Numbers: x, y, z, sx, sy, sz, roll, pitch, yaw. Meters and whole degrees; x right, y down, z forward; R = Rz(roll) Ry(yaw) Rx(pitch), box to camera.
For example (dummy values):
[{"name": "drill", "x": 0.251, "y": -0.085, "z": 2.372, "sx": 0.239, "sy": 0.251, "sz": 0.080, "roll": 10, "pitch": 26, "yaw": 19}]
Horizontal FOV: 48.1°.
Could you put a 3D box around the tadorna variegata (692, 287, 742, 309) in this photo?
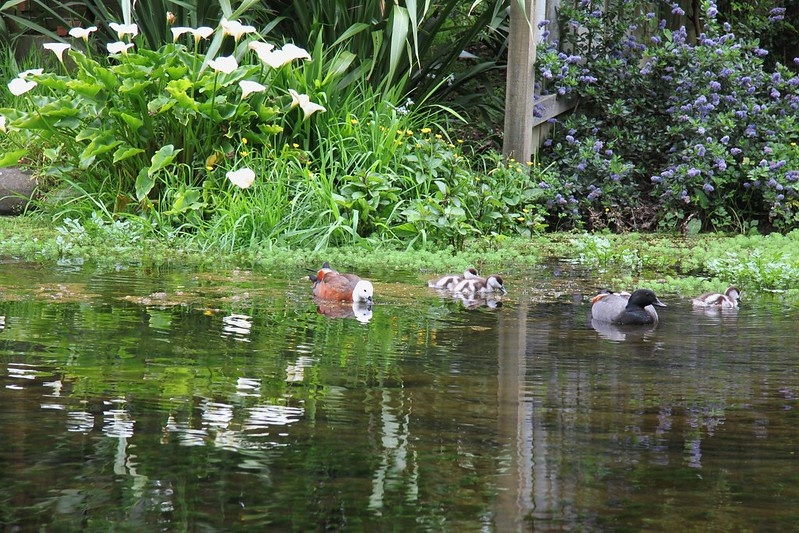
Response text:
[{"name": "tadorna variegata", "x": 2.126, "y": 0.206, "z": 6.012, "sx": 0.249, "sy": 0.150, "sz": 0.155, "roll": 3, "pitch": 3, "yaw": -2}]

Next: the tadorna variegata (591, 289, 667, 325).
[{"name": "tadorna variegata", "x": 1.420, "y": 0.247, "z": 5.546, "sx": 0.224, "sy": 0.214, "sz": 0.407, "roll": -1, "pitch": 5, "yaw": -32}]
